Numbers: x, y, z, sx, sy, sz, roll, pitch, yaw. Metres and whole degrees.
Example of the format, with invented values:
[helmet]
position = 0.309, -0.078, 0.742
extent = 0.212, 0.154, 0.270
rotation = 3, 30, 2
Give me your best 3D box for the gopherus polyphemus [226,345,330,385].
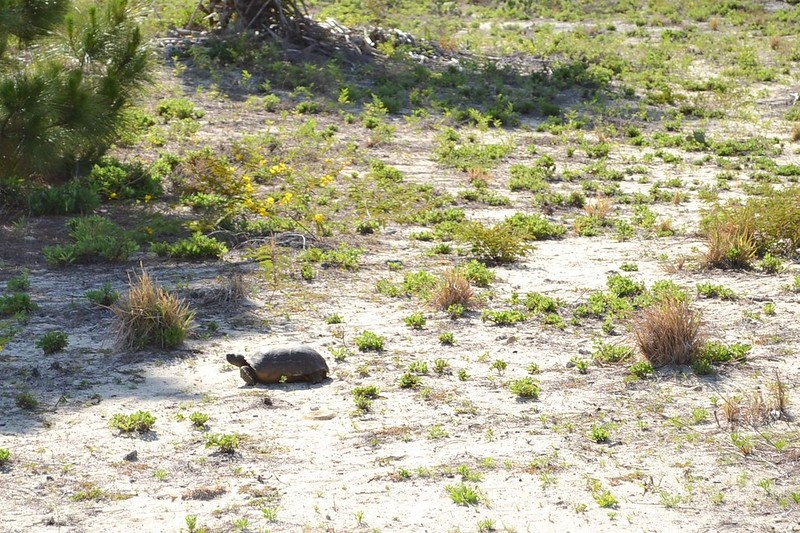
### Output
[gopherus polyphemus]
position = -1.910, 1.639, 22.827
extent = 1.161, 0.372, 0.759
rotation = 1, 1, -1
